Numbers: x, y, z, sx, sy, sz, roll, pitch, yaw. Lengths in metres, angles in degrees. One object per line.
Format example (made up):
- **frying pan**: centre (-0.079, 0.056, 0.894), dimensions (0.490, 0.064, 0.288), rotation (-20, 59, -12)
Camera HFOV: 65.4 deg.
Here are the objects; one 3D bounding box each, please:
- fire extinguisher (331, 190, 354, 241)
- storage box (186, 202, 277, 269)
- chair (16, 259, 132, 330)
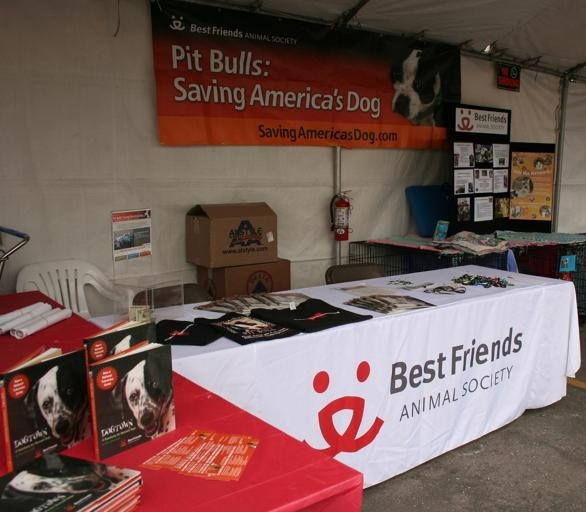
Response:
- **fire extinguisher**: centre (0.463, -0.380, 4.504), dimensions (0.160, 0.458, 0.181), rotation (-1, 6, -10)
- **storage box**: centre (-0.510, -0.167, 3.821), dimensions (0.705, 0.582, 0.497), rotation (-6, 8, -34)
- **chair**: centre (-1.364, 0.226, 2.788), dimensions (0.313, 0.455, 0.297), rotation (-8, 10, -39)
